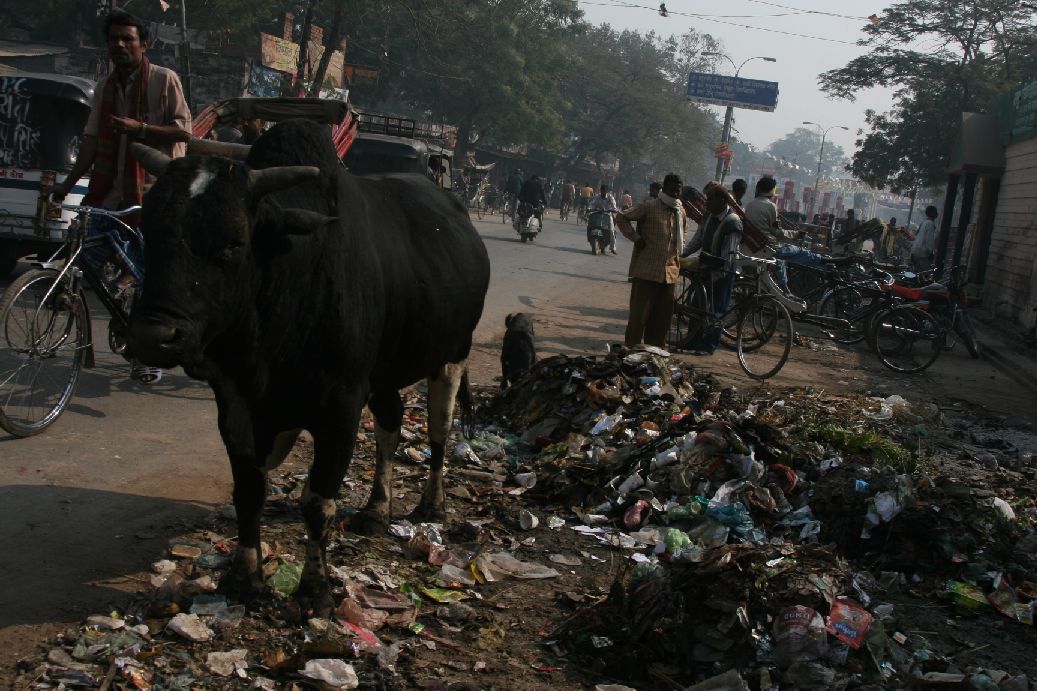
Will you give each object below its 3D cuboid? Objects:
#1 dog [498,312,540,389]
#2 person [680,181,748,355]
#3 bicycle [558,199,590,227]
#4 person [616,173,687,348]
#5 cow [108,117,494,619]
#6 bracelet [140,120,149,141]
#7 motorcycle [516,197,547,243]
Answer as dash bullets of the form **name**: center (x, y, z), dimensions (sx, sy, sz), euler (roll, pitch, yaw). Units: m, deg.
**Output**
- **dog**: center (0.010, 0.053, 8.590), dimensions (0.396, 0.729, 0.168), euler (2, -18, 23)
- **person**: center (2.439, -0.944, 10.627), dimensions (0.653, 2.212, 0.767), euler (5, 9, -5)
- **bicycle**: center (2.482, -5.989, 37.004), dimensions (0.953, 1.245, 2.135), euler (1, 2, 8)
- **person**: center (1.568, -1.027, 10.034), dimensions (0.700, 2.131, 1.108), euler (9, 9, 17)
- **cow**: center (-1.112, 0.100, 4.353), dimensions (0.580, 2.515, 1.946), euler (11, 11, 32)
- **bracelet**: center (-2.766, -1.559, 6.028), dimensions (0.089, 0.116, 0.103), euler (-6, 25, -29)
- **motorcycle**: center (0.292, -3.452, 22.787), dimensions (0.685, 1.207, 0.946), euler (5, 9, -4)
